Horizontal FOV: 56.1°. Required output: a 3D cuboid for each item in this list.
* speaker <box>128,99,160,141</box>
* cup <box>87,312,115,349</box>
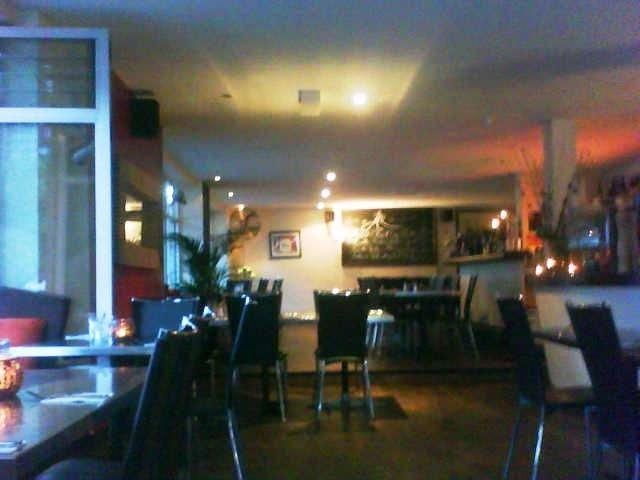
[{"bbox_3d":[-0.941,-0.656,3.320,0.192,0.273,0.271,-1,2,-11],"label":"speaker"},{"bbox_3d":[-1.006,0.425,2.818,0.152,0.173,0.149,0,-2,0],"label":"cup"}]
